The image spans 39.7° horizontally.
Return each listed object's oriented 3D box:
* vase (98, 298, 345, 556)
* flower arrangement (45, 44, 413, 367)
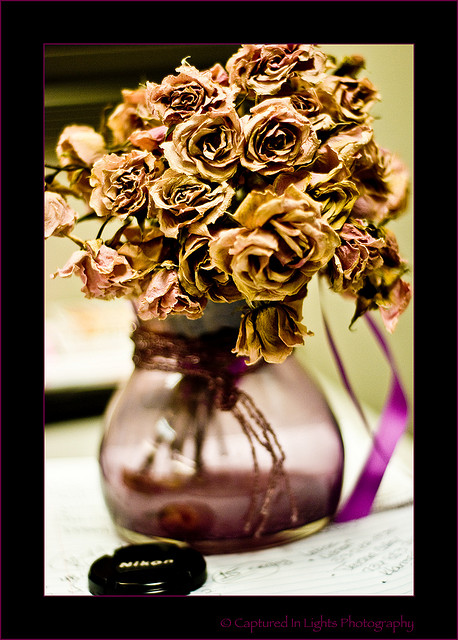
[{"bbox_3d":[-0.023,0.104,0.772,0.308,0.261,0.290,3,5,-4],"label":"vase"},{"bbox_3d":[-0.018,-0.071,0.703,0.387,0.334,0.361,-1,11,8],"label":"flower arrangement"}]
